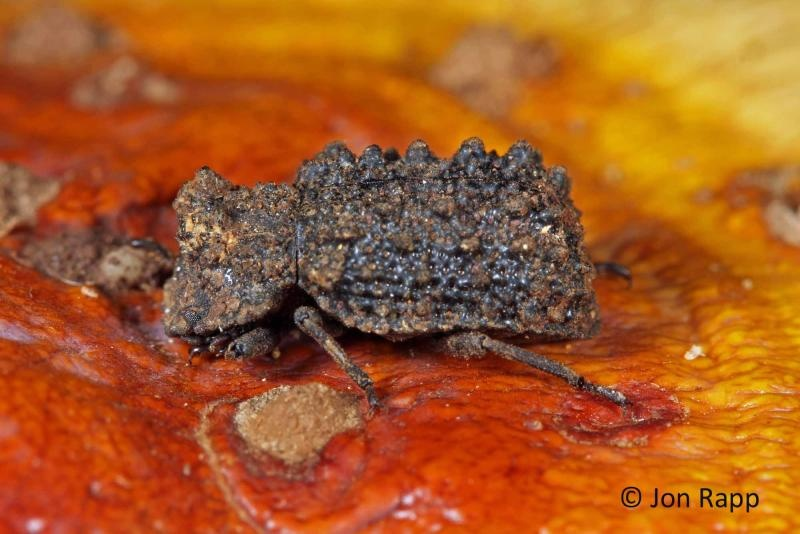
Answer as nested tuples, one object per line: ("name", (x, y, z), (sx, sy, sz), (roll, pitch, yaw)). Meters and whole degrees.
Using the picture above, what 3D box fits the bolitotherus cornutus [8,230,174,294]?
("bolitotherus cornutus", (-1.607, -0.167, 4.738), (0.824, 0.167, 0.559), (-3, 104, -33))
